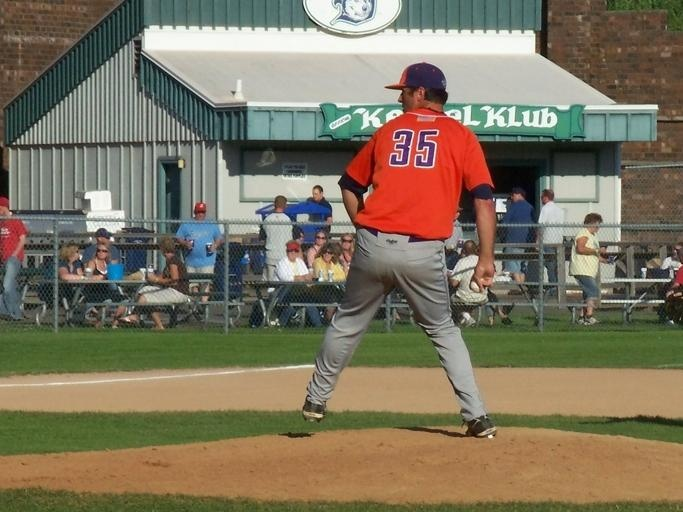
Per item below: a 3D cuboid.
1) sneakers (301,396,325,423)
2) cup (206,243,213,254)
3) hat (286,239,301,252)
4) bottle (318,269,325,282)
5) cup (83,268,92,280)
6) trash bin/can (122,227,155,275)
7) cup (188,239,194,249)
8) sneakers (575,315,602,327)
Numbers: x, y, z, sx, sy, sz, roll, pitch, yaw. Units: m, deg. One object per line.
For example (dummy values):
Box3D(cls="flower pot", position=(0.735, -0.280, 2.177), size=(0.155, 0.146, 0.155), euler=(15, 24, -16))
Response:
Box3D(cls="sneakers", position=(-0.450, 2.533, 30.863), size=(0.226, 0.274, 0.441), euler=(3, 3, 14))
Box3D(cls="cup", position=(-2.650, -0.165, 38.258), size=(0.168, 0.187, 0.155), euler=(3, -2, 0))
Box3D(cls="hat", position=(-0.951, -0.202, 37.802), size=(0.177, 0.193, 0.223), euler=(0, -11, -7))
Box3D(cls="bottle", position=(-0.396, 0.393, 37.596), size=(0.075, 0.246, 0.097), euler=(1, 0, -9))
Box3D(cls="cup", position=(-5.025, 0.364, 37.721), size=(0.180, 0.374, 0.190), euler=(1, -4, 0))
Box3D(cls="trash bin/can", position=(-4.277, -0.086, 39.235), size=(0.838, 1.258, 0.892), euler=(1, -1, -16))
Box3D(cls="cup", position=(-3.024, -0.233, 38.362), size=(0.119, 0.202, 0.128), euler=(1, -14, 0))
Box3D(cls="sneakers", position=(4.995, 1.336, 38.443), size=(0.463, 0.239, 0.181), euler=(0, -1, 5))
